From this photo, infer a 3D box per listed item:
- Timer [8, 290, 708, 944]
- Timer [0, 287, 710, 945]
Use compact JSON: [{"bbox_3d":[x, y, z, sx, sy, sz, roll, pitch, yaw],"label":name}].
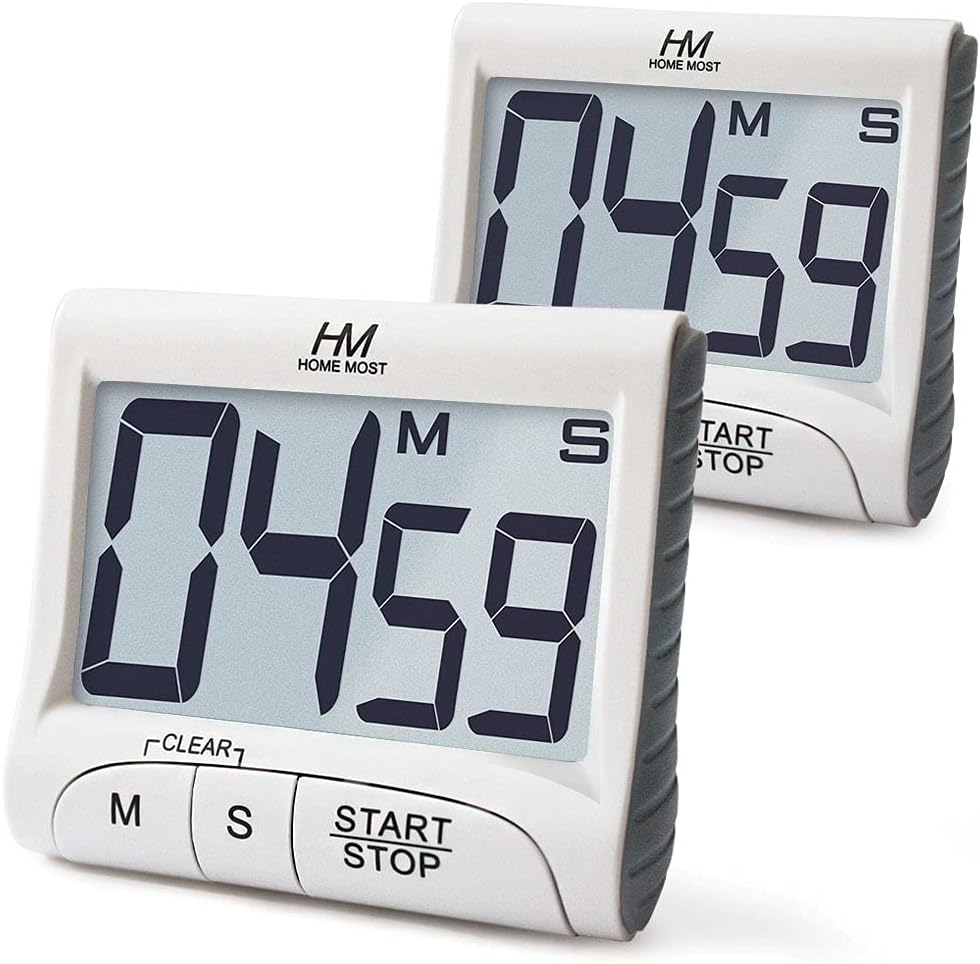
[{"bbox_3d":[-0.117,0.153,1.194,0.722,0.571,0.205,3,-2,16],"label":"Timer"},{"bbox_3d":[-0.119,0.153,1.194,0.724,0.571,0.206,3,-2,16],"label":"Timer"}]
